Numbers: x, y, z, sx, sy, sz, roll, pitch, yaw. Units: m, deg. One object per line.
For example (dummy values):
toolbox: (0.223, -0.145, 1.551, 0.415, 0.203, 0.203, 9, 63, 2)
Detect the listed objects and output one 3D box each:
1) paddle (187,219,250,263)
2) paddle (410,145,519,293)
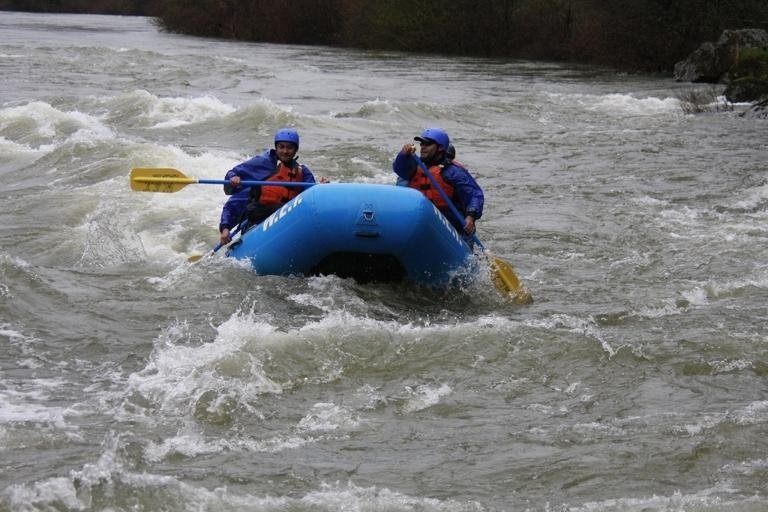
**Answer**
paddle: (-2.723, -0.204, 22.224, 0.395, 0.176, 1.876, 5, -19, -44)
paddle: (1.427, -0.454, 22.200, 0.328, 2.820, 0.713, -45, -26, 23)
